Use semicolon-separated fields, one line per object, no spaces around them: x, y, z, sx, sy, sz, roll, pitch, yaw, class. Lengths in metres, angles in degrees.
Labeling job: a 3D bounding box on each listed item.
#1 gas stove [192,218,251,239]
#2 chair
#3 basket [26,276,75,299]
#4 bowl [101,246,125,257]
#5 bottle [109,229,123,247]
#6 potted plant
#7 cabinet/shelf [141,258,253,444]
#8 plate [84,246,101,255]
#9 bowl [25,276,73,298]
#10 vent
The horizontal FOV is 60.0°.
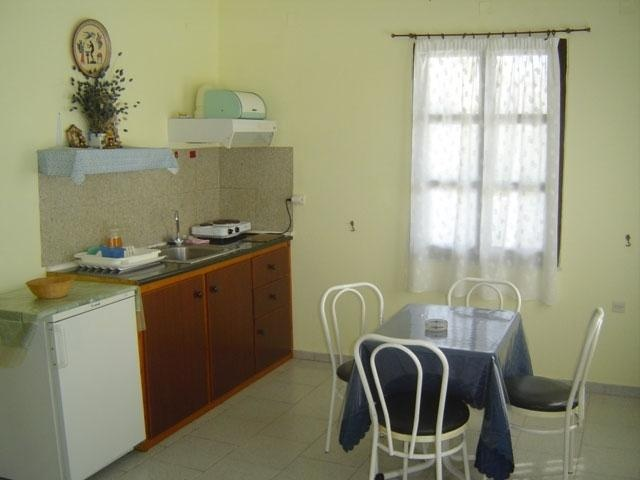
-0.815;-0.094;4.807;0.557;0.138;0.346;-10;16;-34;gas stove
0.719;0.788;2.980;0.937;0.855;1.417;2;4;22;chair
-1.566;0.270;3.209;0.167;0.071;0.171;-1;0;27;basket
-1.365;0.079;3.651;0.104;0.105;0.078;0;4;-9;bowl
-1.442;-0.010;3.953;0.101;0.131;0.127;-1;-5;-6;bottle
-1.493;-0.965;4.047;0.552;0.813;0.593;0;5;-1;potted plant
-0.881;0.787;3.861;0.397;0.945;1.058;2;9;23;cabinet/shelf
-1.541;0.060;3.772;0.086;0.050;0.173;-9;15;-32;plate
-1.568;0.273;3.208;0.164;0.073;0.167;-1;-1;0;bowl
-0.803;-0.889;4.585;0.708;0.244;0.643;3;14;17;vent
